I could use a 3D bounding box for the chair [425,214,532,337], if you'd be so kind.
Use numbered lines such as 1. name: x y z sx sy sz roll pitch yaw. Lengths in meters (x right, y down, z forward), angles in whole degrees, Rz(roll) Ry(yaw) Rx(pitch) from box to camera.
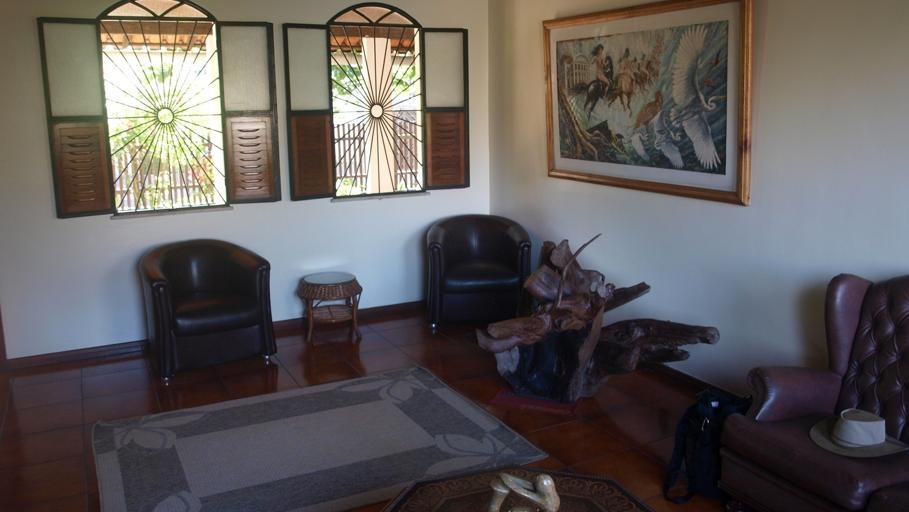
1. chair: 0.263 0.157 7.501 1.252 1.174 1.153 -2 12 -7

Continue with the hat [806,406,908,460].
1. hat: 2.875 1.293 4.357 0.415 0.126 0.443 -19 22 -41

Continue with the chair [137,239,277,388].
1. chair: -2.731 0.513 6.520 1.166 1.027 1.263 18 20 35

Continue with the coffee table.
1. coffee table: -1.445 0.567 7.261 0.842 0.723 0.815 -2 7 -15
